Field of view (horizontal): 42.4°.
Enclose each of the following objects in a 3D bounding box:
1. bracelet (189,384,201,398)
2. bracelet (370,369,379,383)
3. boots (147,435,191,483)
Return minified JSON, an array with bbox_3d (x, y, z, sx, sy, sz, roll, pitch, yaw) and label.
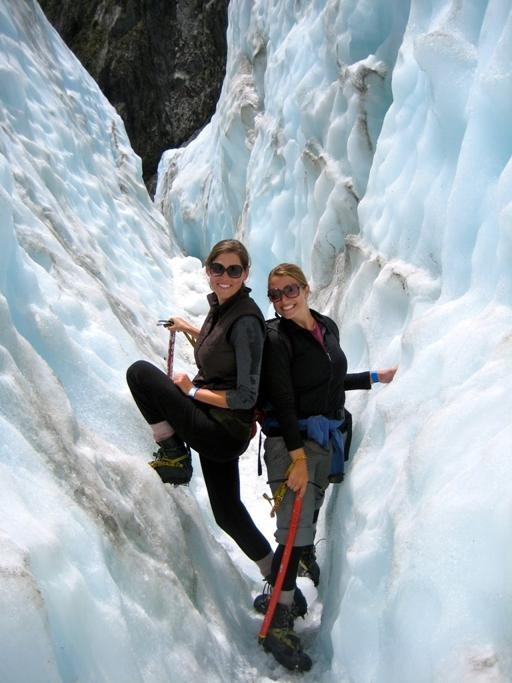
[{"bbox_3d":[-0.196,0.156,2.070,0.023,0.039,0.036,24,6,15],"label":"bracelet"},{"bbox_3d":[0.450,0.135,2.499,0.027,0.035,0.036,-19,17,-28],"label":"bracelet"},{"bbox_3d":[-0.280,0.391,2.225,0.162,0.154,0.069,6,21,25],"label":"boots"}]
